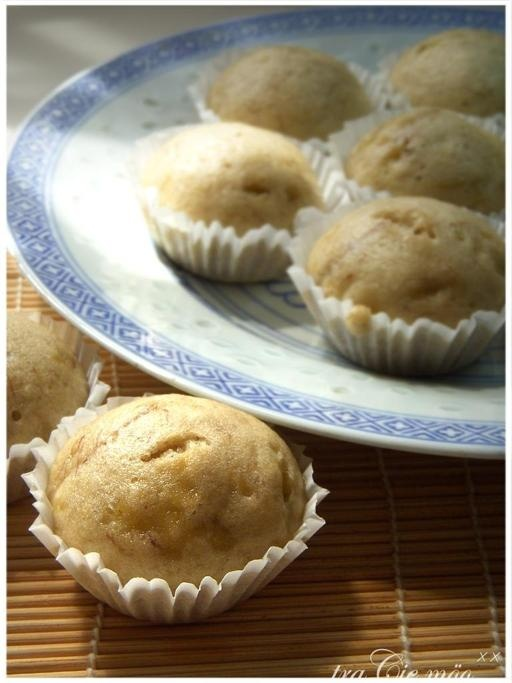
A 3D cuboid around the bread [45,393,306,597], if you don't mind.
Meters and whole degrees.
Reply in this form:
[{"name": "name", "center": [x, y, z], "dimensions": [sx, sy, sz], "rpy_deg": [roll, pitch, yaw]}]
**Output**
[{"name": "bread", "center": [-0.072, 0.127, 0.656], "dimensions": [0.184, 0.091, 0.167], "rpy_deg": [3, 24, -1]}]
